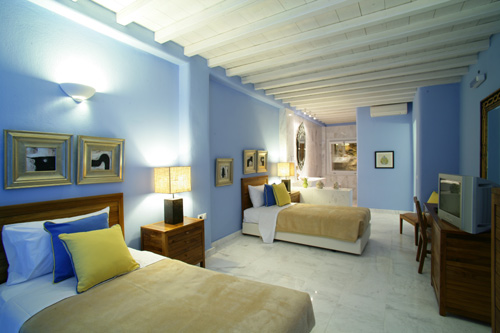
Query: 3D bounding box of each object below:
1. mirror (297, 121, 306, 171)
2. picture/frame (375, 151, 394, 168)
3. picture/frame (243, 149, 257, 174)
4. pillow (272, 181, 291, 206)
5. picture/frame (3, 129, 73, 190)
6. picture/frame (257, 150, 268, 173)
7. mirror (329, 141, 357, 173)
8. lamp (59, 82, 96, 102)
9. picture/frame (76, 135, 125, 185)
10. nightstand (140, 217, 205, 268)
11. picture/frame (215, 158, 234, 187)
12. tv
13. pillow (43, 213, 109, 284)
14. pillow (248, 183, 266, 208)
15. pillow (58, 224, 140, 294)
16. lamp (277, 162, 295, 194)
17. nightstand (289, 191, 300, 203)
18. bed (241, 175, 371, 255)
[{"bbox_3d":[1.636,-0.673,10.200,0.028,1.478,1.027,-1,2,26],"label":"mirror"},{"bbox_3d":[3.797,-0.202,8.922,0.477,0.487,0.027,2,2,37],"label":"picture/frame"},{"bbox_3d":[-0.012,-0.126,7.353,0.049,0.616,0.582,1,0,35],"label":"picture/frame"},{"bbox_3d":[0.742,0.679,7.400,0.289,0.522,0.635,4,1,30],"label":"pillow"},{"bbox_3d":[-2.771,-0.099,4.103,0.074,0.946,0.810,3,2,44],"label":"picture/frame"},{"bbox_3d":[0.287,-0.136,7.793,0.055,0.556,0.551,1,-1,27],"label":"picture/frame"},{"bbox_3d":[3.527,-0.354,11.915,1.193,1.149,0.094,1,0,40],"label":"mirror"},{"bbox_3d":[-2.341,-1.037,4.315,0.302,0.144,0.264,3,26,9],"label":"lamp"},{"bbox_3d":[-2.183,-0.092,4.590,0.064,0.869,0.746,2,1,40],"label":"picture/frame"},{"bbox_3d":[-1.261,1.335,5.261,0.645,0.812,0.904,3,4,30],"label":"nightstand"},{"bbox_3d":[-0.551,0.109,6.590,0.046,0.629,0.623,1,0,31],"label":"picture/frame"},{"bbox_3d":[2.882,0.492,4.314,0.304,0.742,0.666,-3,2,-18],"label":"tv"},{"bbox_3d":[-2.118,1.036,3.862,0.336,0.626,0.752,7,6,27],"label":"pillow"},{"bbox_3d":[0.152,0.686,7.254,0.192,0.362,0.556,-5,-5,30],"label":"pillow"},{"bbox_3d":[-1.849,1.081,3.982,0.503,0.626,0.829,5,8,32],"label":"pillow"},{"bbox_3d":[0.963,0.297,8.539,0.545,0.800,0.548,-1,0,-17],"label":"lamp"},{"bbox_3d":[1.190,0.812,8.367,0.252,0.303,0.454,-1,-2,28],"label":"nightstand"},{"bbox_3d":[1.389,1.163,6.659,1.870,0.940,1.914,0,-2,33],"label":"bed"}]
